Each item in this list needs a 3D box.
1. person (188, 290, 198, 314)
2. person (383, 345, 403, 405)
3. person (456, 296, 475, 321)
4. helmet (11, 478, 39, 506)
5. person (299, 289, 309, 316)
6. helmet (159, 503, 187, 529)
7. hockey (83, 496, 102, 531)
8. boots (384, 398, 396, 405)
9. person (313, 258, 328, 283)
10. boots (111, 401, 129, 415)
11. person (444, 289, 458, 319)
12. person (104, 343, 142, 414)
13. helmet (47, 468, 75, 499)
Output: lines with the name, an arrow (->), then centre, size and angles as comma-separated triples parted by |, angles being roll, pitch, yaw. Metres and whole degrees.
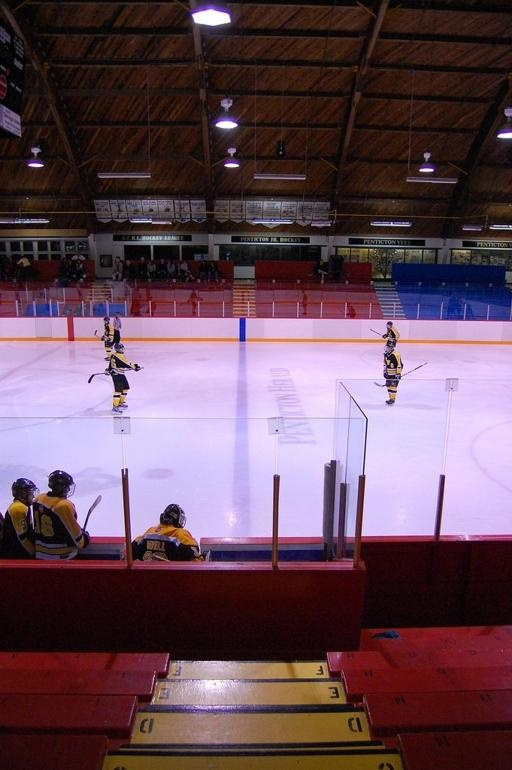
person -> -2.043, -2.662, 17.966 | 0.265, 0.814, 0.167 | -1, 6, -10
person -> 2.427, -0.171, 9.951 | 0.264, 1.002, 0.722 | 1, 5, 10
person -> 6.913, -2.555, 18.421 | 0.588, 1.060, 0.579 | 3, 29, 9
helmet -> -1.446, 0.661, 3.528 | 0.168, 0.165, 0.138 | 15, 9, -36
person -> 1.539, -2.657, 18.102 | 0.277, 0.812, 0.358 | 1, 6, 4
helmet -> -0.521, 0.861, 3.636 | 0.139, 0.173, 0.173 | 6, -10, 19
hockey -> -1.083, 0.842, 3.682 | 0.033, 0.331, 0.049 | -10, -31, 41
boots -> 2.352, 0.293, 9.782 | 0.080, 0.119, 0.175 | 0, -1, 28
person -> 2.989, -5.282, 25.937 | 0.636, 1.074, 1.131 | 1, 5, 6
boots -> -2.374, 0.403, 9.696 | 0.122, 0.164, 0.399 | 16, 22, 34
person -> 6.499, -2.619, 18.472 | 0.399, 0.862, 0.340 | -3, 7, -34
person -> -2.396, -0.159, 9.947 | 0.549, 1.168, 1.154 | -1, 5, -14
helmet -> -1.197, 0.611, 3.473 | 0.139, 0.158, 0.166 | 18, 8, 3
